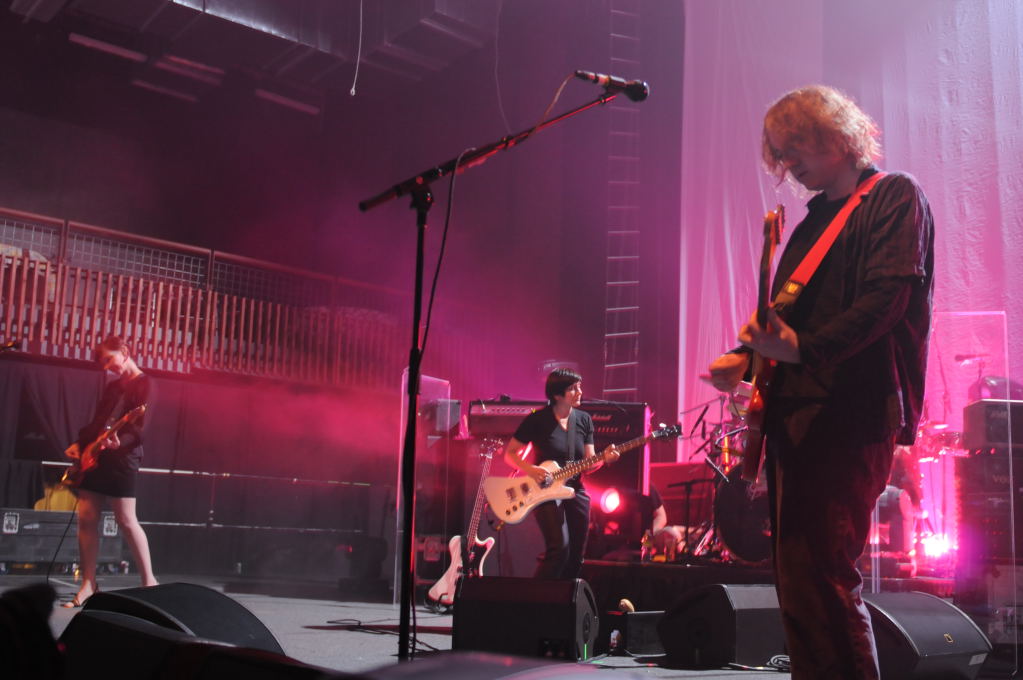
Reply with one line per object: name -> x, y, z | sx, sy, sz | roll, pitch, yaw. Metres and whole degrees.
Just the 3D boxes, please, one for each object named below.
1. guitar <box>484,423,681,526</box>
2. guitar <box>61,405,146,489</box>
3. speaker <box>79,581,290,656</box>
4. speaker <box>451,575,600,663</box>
guitar -> 0.520, 1.101, 6.983 | 1.442, 0.765, 0.497 | 3, -16, -10
guitar -> -3.398, 0.876, 7.000 | 0.662, 0.679, 0.255 | -5, -16, 18
speaker -> -1.479, 1.251, 3.824 | 0.851, 0.291, 0.420 | 6, -17, -19
speaker -> 0.036, 1.853, 5.679 | 0.891, 0.497, 0.153 | -4, -16, 15
